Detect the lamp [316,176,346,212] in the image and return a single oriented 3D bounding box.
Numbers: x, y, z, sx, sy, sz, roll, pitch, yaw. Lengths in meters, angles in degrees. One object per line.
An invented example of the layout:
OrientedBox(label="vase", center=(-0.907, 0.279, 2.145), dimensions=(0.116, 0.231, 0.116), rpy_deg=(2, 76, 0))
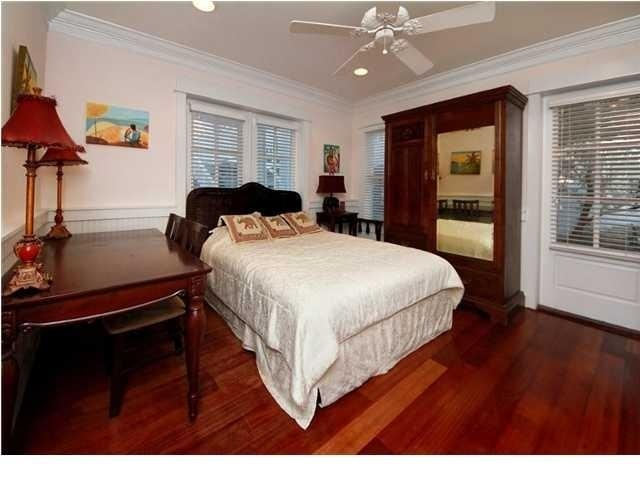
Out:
OrientedBox(label="lamp", center=(0.158, -0.643, 5.624), dimensions=(0.397, 0.539, 0.412), rpy_deg=(-9, 21, -37))

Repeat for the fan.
OrientedBox(label="fan", center=(0.659, -1.601, 3.402), dimensions=(0.990, 0.380, 0.965), rpy_deg=(0, -6, 4))

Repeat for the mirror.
OrientedBox(label="mirror", center=(1.504, -0.460, 4.250), dimensions=(0.665, 1.341, 0.345), rpy_deg=(-4, -10, 30))

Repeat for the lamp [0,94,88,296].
OrientedBox(label="lamp", center=(-1.773, -0.274, 2.583), dimensions=(0.407, 1.224, 0.582), rpy_deg=(6, -10, -33))

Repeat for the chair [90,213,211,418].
OrientedBox(label="chair", center=(-1.236, 0.612, 2.996), dimensions=(0.632, 0.678, 1.325), rpy_deg=(-2, 5, -32))

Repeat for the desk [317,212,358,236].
OrientedBox(label="desk", center=(0.256, -0.266, 5.584), dimensions=(0.355, 0.471, 0.474), rpy_deg=(2, 4, 39))

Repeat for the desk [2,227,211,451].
OrientedBox(label="desk", center=(-1.419, 0.279, 2.825), dimensions=(1.171, 0.891, 1.581), rpy_deg=(-3, 8, -33))
